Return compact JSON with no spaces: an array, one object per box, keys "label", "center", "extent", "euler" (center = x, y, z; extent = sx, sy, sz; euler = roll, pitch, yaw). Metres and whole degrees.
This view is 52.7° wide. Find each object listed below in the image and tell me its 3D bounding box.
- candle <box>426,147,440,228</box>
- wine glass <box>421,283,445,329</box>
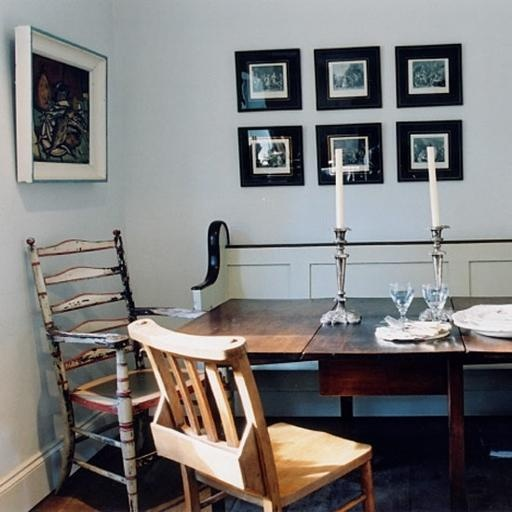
[{"label":"candle","center":[0.772,-0.315,2.265],"extent":[0.044,0.377,0.868],"euler":[-1,8,19]},{"label":"wine glass","center":[0.629,0.187,1.871],"extent":[0.095,0.182,0.117],"euler":[0,0,4]}]
